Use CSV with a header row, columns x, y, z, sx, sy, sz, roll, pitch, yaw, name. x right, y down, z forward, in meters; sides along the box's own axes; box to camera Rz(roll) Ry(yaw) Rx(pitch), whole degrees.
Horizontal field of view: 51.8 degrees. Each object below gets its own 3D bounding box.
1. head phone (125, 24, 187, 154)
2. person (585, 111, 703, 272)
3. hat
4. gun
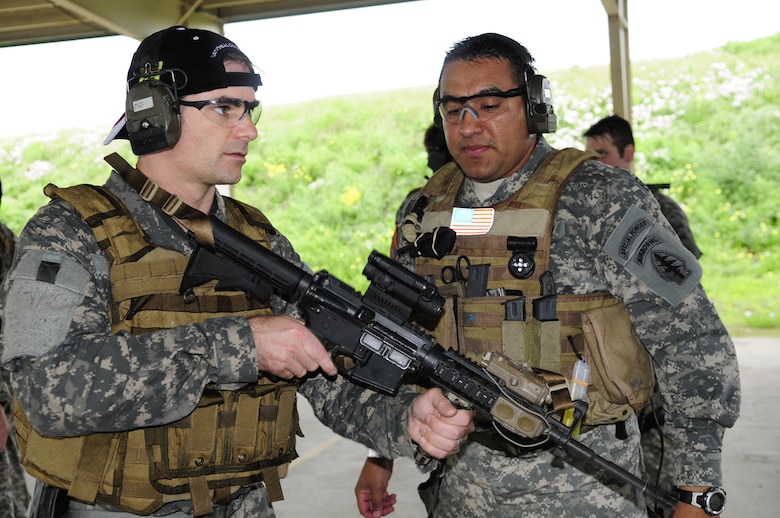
x,y,z,sx,sy,sz,roll,pitch,yaw,name
-1.055,-0.799,3.758,0.400,0.563,0.269,-5,3,38,head phone
2.238,-0.583,6.782,1.019,1.767,0.926,1,-2,-1,person
-0.955,-0.806,3.838,0.685,0.708,0.394,3,13,15,hat
-0.277,0.445,3.597,2.425,0.667,0.261,-11,-13,-21,gun
